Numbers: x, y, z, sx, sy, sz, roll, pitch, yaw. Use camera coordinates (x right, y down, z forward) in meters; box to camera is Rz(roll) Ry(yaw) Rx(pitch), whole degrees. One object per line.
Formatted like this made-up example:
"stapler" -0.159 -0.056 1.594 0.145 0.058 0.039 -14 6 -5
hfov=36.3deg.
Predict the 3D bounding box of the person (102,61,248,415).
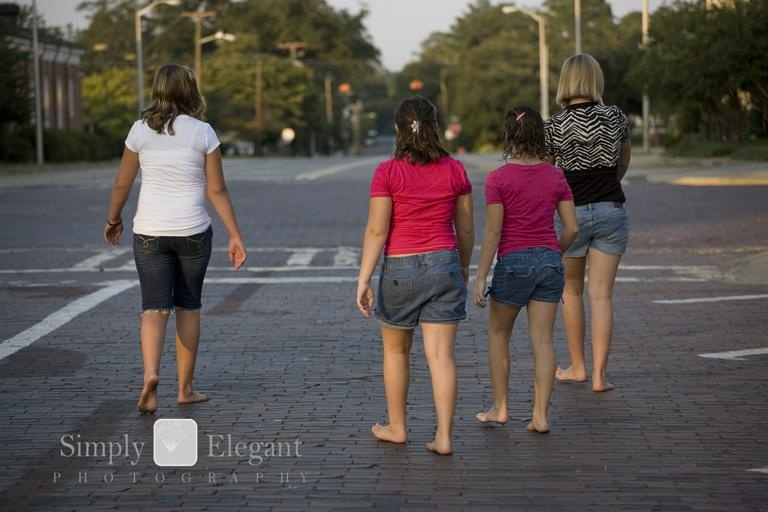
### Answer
"person" -1.790 -0.162 9.998 1.067 2.858 0.796 -5 14 -14

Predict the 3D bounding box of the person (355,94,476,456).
"person" 0.230 0.130 9.422 0.871 2.713 0.779 2 14 12
